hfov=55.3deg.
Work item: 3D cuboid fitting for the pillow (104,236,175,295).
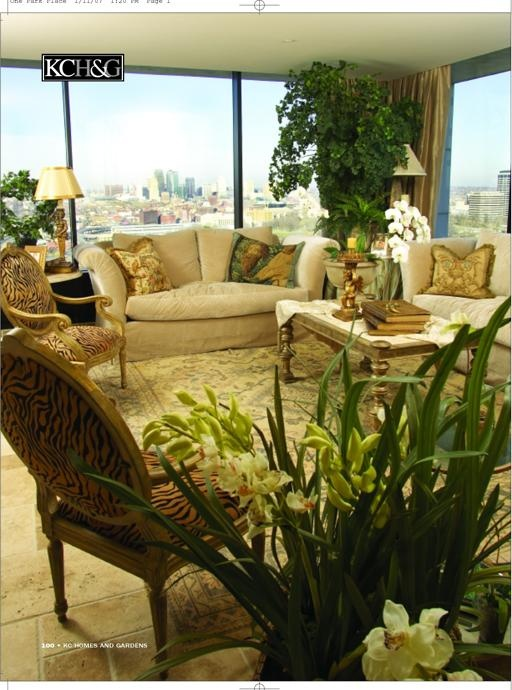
[{"bbox_3d":[-1.028,-0.682,4.293,0.154,0.505,0.501,-30,-7,36],"label":"pillow"}]

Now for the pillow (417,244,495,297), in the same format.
[{"bbox_3d":[1.713,-0.627,4.190,0.491,0.424,0.188,4,-7,32],"label":"pillow"}]

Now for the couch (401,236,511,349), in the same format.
[{"bbox_3d":[1.312,-0.373,3.208,0.547,0.562,0.749,-23,33,-11],"label":"couch"}]

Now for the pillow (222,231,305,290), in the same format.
[{"bbox_3d":[0.075,-0.795,4.706,0.575,0.533,0.168,3,-20,14],"label":"pillow"}]

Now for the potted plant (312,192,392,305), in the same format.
[{"bbox_3d":[1.210,-1.255,5.454,0.629,0.722,0.541,15,-20,-43],"label":"potted plant"}]

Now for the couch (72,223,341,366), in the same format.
[{"bbox_3d":[-0.486,-0.556,4.696,2.430,1.091,1.052,-5,19,-24],"label":"couch"}]
